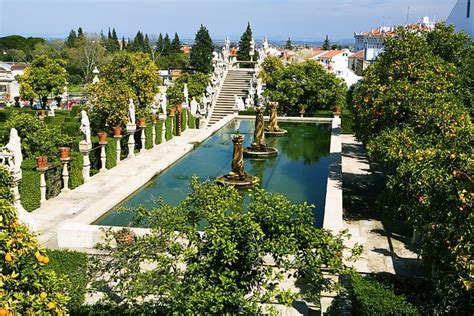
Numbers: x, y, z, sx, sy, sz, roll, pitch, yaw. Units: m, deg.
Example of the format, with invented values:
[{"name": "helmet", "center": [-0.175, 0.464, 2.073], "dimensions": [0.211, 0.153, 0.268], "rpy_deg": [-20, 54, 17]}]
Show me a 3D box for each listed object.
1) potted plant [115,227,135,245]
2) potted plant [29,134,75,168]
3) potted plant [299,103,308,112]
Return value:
[{"name": "potted plant", "center": [-2.897, 1.986, 10.252], "dimensions": [0.428, 0.299, 0.700], "rpy_deg": [-4, 17, -17]}, {"name": "potted plant", "center": [-7.816, -0.145, 16.755], "dimensions": [1.288, 1.209, 1.783], "rpy_deg": [20, 33, 21]}, {"name": "potted plant", "center": [5.869, -4.481, 34.840], "dimensions": [0.972, 0.931, 0.792], "rpy_deg": [-1, 15, -1]}]
